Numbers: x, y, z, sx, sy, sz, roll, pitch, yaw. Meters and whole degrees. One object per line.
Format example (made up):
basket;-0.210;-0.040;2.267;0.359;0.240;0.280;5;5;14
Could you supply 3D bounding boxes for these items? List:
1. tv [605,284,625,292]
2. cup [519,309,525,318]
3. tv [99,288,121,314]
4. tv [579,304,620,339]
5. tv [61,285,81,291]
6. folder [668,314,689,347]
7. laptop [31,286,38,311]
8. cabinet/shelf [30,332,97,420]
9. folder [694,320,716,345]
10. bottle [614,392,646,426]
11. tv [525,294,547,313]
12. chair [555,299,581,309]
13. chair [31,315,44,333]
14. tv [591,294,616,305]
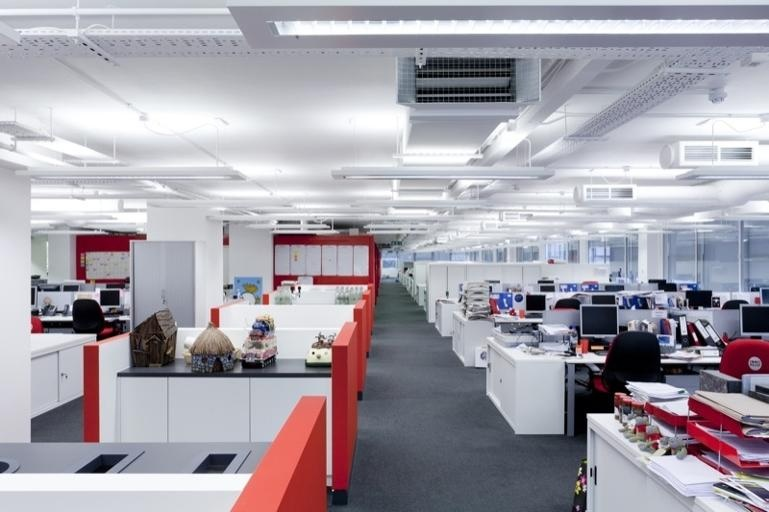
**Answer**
tv;4.591;0.627;11.742;0.448;0.105;0.259;-8;12;-41
cup;2.139;0.923;9.223;0.107;0.175;0.101;0;-2;0
tv;-5.615;0.954;12.023;0.538;0.548;0.081;-1;-3;-4
tv;2.841;0.886;7.805;0.502;0.381;0.155;0;-2;-2
tv;-7.103;0.741;13.273;0.286;0.129;0.170;1;6;2
folder;3.999;1.041;8.002;0.174;0.430;0.439;-6;-2;-1
laptop;-6.898;0.833;11.578;0.111;0.440;0.247;-6;12;-27
cabinet/shelf;-4.300;1.645;7.821;0.776;0.768;1.342;1;-1;1
folder;4.377;1.056;8.019;0.080;0.302;0.296;-35;15;38
bottle;2.157;1.361;5.161;0.127;0.196;0.345;2;-2;-3
tv;2.361;0.757;9.214;0.314;0.207;0.040;0;-2;-9
chair;2.903;0.769;9.343;0.313;0.102;0.223;0;0;-7
chair;-5.639;1.131;9.541;0.139;0.279;0.486;-6;11;-26
tv;3.308;0.669;8.863;0.318;0.181;0.073;-5;-13;29
